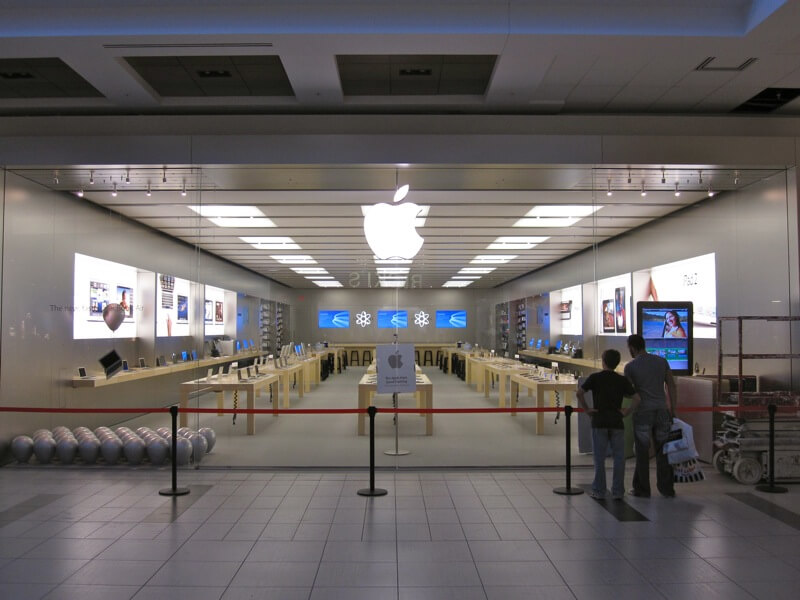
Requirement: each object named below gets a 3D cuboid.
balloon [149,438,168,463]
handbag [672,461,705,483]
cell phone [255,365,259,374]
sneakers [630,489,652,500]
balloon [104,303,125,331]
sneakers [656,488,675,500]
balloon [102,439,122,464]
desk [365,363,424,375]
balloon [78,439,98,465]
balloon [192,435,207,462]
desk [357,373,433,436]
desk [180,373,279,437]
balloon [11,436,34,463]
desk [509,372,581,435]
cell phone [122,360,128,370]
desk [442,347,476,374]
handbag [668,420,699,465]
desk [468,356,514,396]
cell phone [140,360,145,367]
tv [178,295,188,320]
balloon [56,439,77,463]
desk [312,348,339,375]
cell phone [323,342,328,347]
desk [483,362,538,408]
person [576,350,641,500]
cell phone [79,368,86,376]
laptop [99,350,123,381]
[{"bbox_3d":[-3.467,2.170,8.049,0.336,0.376,0.120,0,3,3],"label":"balloon"},{"bbox_3d":[3.560,2.128,6.880,0.307,0.068,0.301,-3,1,10],"label":"handbag"},{"bbox_3d":[-2.244,1.093,8.835,0.101,0.088,0.023,3,6,40],"label":"cell phone"},{"bbox_3d":[2.949,2.393,6.894,0.262,0.101,0.087,-4,-1,15],"label":"sneakers"},{"bbox_3d":[-4.358,0.254,8.569,0.300,0.411,0.134,0,3,-11],"label":"balloon"},{"bbox_3d":[3.306,2.362,6.881,0.223,0.108,0.193,0,3,5],"label":"sneakers"},{"bbox_3d":[-4.155,2.173,8.066,0.325,0.361,0.118,0,3,6],"label":"balloon"},{"bbox_3d":[-0.074,1.024,8.182,0.841,0.257,0.347,0,3,-2],"label":"desk"},{"bbox_3d":[-4.486,2.173,8.080,0.313,0.372,0.106,0,3,7],"label":"balloon"},{"bbox_3d":[-2.840,2.106,7.975,0.208,0.386,0.089,-1,3,-27],"label":"balloon"},{"bbox_3d":[-0.061,1.524,8.728,1.061,0.619,1.073,-1,-2,0],"label":"desk"},{"bbox_3d":[-2.646,1.755,8.434,0.933,0.599,1.295,0,-3,10],"label":"desk"},{"bbox_3d":[-5.404,2.143,8.046,0.261,0.377,0.230,-2,4,-35],"label":"balloon"},{"bbox_3d":[2.419,1.843,9.270,0.808,0.691,1.523,0,-2,1],"label":"desk"},{"bbox_3d":[-4.121,0.969,8.425,0.075,0.144,0.100,-3,4,-40],"label":"cell phone"},{"bbox_3d":[0.870,0.925,8.564,0.459,0.404,0.437,1,-5,-8],"label":"desk"},{"bbox_3d":[3.420,1.736,6.824,0.363,0.561,0.146,1,3,14],"label":"handbag"},{"bbox_3d":[1.450,1.211,9.123,0.454,0.499,0.799,1,-2,-9],"label":"desk"},{"bbox_3d":[-3.877,0.937,8.454,0.107,0.101,0.037,1,3,21],"label":"cell phone"},{"bbox_3d":[-3.314,0.108,8.522,0.232,0.366,0.082,2,4,37],"label":"tv"},{"bbox_3d":[-4.807,2.178,8.082,0.290,0.358,0.137,1,3,16],"label":"balloon"},{"bbox_3d":[-1.071,0.884,8.384,0.438,0.389,0.228,0,3,6],"label":"desk"},{"bbox_3d":[-1.114,0.672,8.486,0.058,0.100,0.057,1,-16,-1],"label":"cell phone"},{"bbox_3d":[1.742,1.377,9.499,0.929,0.827,0.878,0,-5,-9],"label":"desk"},{"bbox_3d":[2.515,1.502,6.843,0.651,1.782,0.343,1,3,17],"label":"person"},{"bbox_3d":[-4.691,1.070,8.298,0.092,0.127,0.030,-1,3,-24],"label":"cell phone"},{"bbox_3d":[-4.318,0.942,8.408,0.295,0.389,0.164,-2,4,-30],"label":"laptop"}]
